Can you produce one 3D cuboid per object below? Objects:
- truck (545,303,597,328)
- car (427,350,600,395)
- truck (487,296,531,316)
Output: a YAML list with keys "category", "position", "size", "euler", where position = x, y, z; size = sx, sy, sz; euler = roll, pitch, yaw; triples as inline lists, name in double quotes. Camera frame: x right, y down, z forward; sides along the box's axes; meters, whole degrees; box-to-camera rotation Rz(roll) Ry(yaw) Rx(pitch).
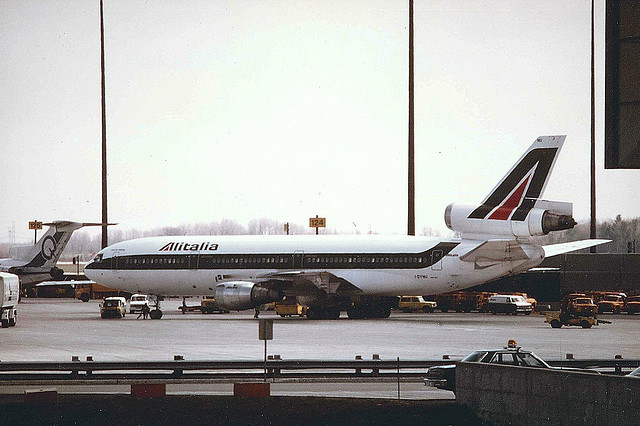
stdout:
- category: "truck"
  position: [13.924, 5.763, 65.090]
  size: [2.276, 1.007, 1.522]
  euler: [-1, 1, 4]
- category: "car"
  position: [6.253, 5.860, 43.720]
  size: [4.671, 1.610, 2.278]
  euler: [-4, -16, 10]
- category: "truck"
  position: [12.050, 5.925, 75.250]
  size: [2.146, 0.876, 1.247]
  euler: [-3, -2, 33]
